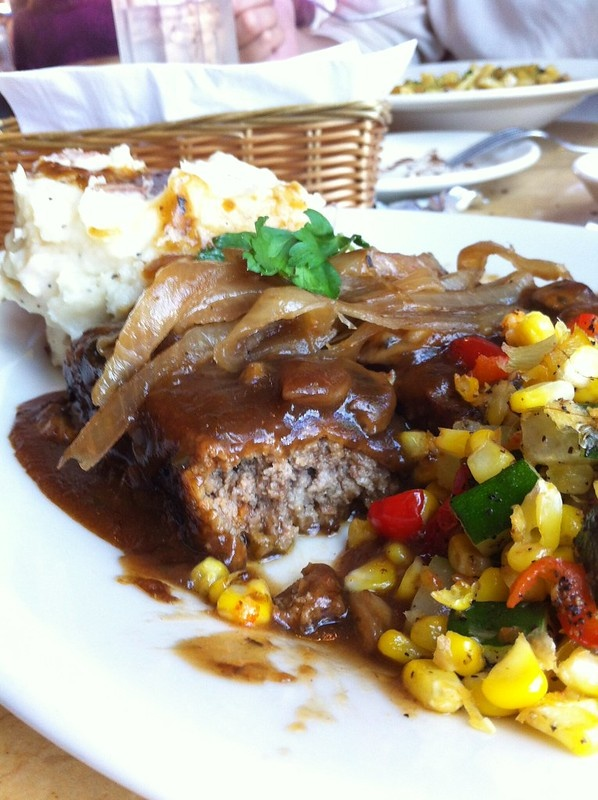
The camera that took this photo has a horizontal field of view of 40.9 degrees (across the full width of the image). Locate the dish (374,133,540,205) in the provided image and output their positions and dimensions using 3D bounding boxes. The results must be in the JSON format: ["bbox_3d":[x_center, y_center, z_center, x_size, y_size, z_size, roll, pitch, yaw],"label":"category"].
[{"bbox_3d":[0.920,-1.294,4.547,0.805,0.152,0.718,-17,33,-22],"label":"dish"}]
